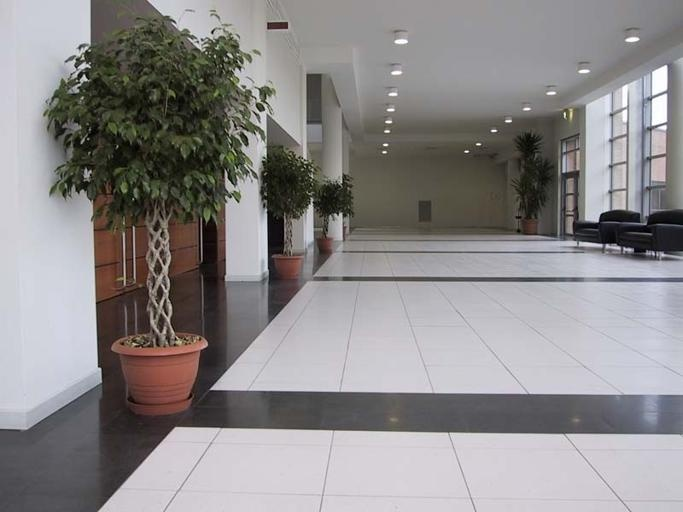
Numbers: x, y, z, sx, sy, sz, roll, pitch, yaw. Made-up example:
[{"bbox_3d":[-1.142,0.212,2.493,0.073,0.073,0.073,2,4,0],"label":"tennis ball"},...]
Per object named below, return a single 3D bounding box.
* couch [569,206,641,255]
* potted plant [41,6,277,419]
[{"bbox_3d":[6.589,-0.572,11.613,1.088,1.068,1.203,0,3,-6],"label":"couch"},{"bbox_3d":[-1.074,-0.197,2.765,1.050,2.142,0.887,0,-8,-16],"label":"potted plant"}]
